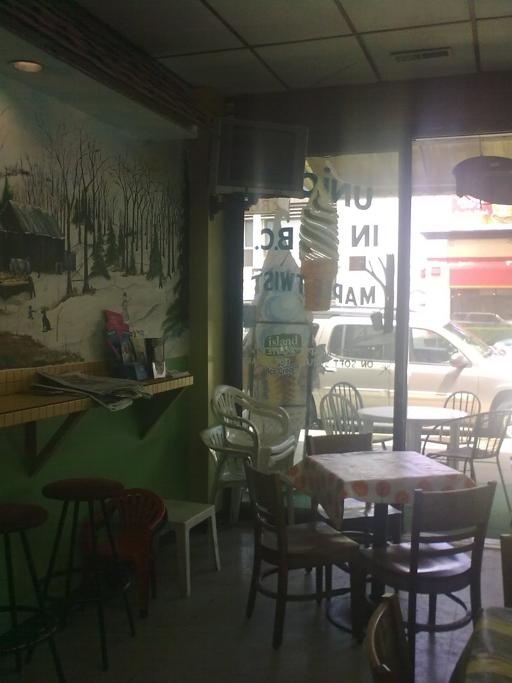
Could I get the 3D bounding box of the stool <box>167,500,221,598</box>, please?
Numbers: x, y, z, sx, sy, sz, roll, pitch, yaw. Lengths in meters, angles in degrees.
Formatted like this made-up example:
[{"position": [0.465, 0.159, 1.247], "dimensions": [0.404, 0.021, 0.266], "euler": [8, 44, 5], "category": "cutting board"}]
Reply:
[{"position": [-0.349, 1.111, 3.179], "dimensions": [0.352, 0.465, 0.360], "euler": [-4, -1, 37], "category": "stool"}]
